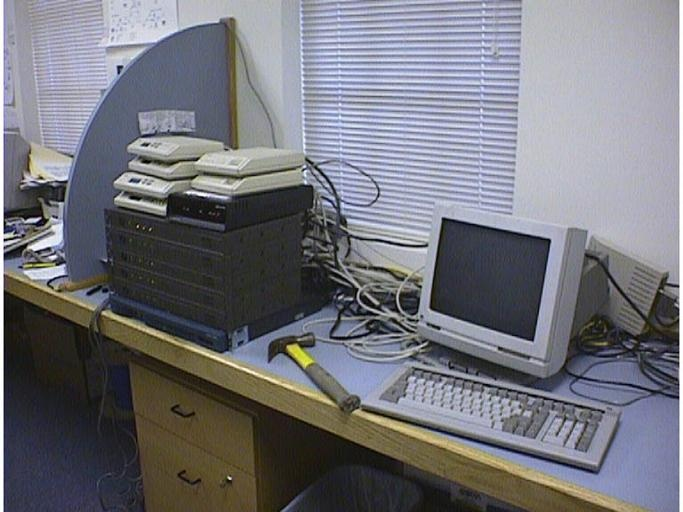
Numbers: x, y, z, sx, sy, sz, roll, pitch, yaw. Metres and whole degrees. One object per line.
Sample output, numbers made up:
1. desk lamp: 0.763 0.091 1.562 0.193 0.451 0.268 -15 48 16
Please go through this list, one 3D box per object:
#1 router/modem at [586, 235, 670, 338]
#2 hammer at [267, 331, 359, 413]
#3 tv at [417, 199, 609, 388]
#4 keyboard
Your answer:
1. router/modem: 0.759 0.090 1.481 0.122 0.252 0.148 -12 23 -43
2. hammer: -0.069 0.281 1.369 0.136 0.057 0.339 -4 22 -31
3. tv: 0.453 0.007 1.462 0.350 0.371 0.444 16 28 38
4. keyboard: 0.347 0.332 1.179 0.361 0.054 0.168 9 19 33
